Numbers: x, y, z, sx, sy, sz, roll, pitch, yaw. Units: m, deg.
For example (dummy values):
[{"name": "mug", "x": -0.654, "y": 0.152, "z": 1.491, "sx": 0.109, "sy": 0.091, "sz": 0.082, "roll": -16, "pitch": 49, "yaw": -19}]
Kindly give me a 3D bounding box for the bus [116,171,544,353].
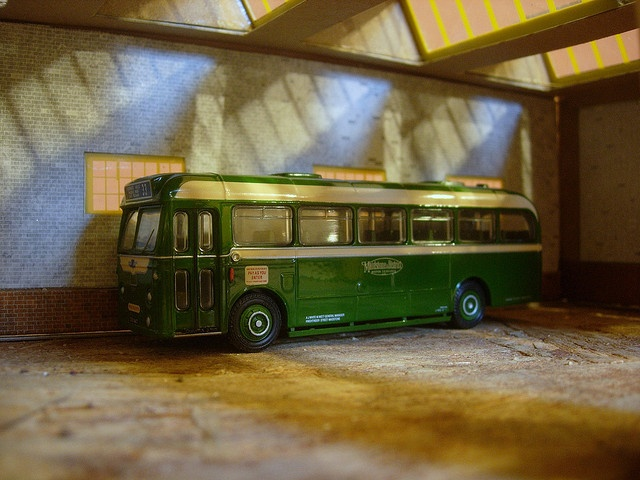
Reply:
[{"name": "bus", "x": 0.869, "y": 0.464, "z": 13.331, "sx": 11.155, "sy": 3.760, "sz": 2.523, "roll": 0, "pitch": 0, "yaw": -28}]
